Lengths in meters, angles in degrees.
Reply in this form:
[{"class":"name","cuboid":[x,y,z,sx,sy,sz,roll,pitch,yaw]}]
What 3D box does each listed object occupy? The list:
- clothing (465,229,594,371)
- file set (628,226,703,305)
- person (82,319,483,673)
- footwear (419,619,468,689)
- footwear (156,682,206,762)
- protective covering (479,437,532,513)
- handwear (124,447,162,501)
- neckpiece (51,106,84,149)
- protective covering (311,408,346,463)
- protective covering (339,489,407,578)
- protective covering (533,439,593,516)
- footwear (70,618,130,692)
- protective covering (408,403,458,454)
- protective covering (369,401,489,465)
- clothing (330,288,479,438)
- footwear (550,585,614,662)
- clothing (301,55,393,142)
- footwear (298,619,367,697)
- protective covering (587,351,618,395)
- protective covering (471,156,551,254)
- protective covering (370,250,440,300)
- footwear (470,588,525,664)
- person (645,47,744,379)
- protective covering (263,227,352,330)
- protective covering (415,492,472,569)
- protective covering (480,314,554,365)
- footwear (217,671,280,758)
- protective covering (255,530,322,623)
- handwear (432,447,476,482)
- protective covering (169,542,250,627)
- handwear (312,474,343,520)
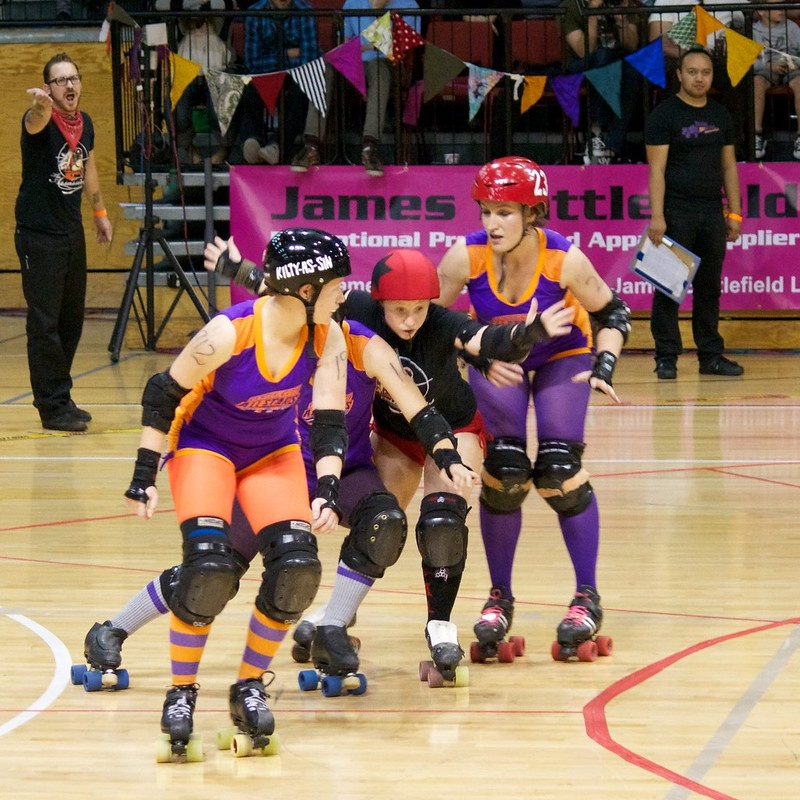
[{"class":"clothing","cuboid":[0.383,-0.304,4.170,0.303,0.420,0.220,9,40,36]},{"class":"file set","cuboid":[1.779,-0.903,9.181,0.489,0.379,0.143,40,25,28]},{"class":"person","cuboid":[-0.439,0.161,4.040,1.140,1.256,0.595,1,4,-44]},{"class":"footwear","cuboid":[0.123,0.718,3.837,0.076,0.122,0.228,0,-1,-2]},{"class":"footwear","cuboid":[-0.550,0.788,3.419,0.102,0.193,0.325,1,-5,-7]},{"class":"protective covering","cuboid":[0.321,0.241,4.261,0.159,0.248,0.132,-3,15,-28]},{"class":"handwear","cuboid":[-0.677,0.189,3.560,0.083,0.145,0.057,19,21,-25]},{"class":"neckpiece","cuboid":[-1.842,-1.514,7.660,0.139,0.243,0.275,3,8,25]},{"class":"protective covering","cuboid":[-0.196,0.118,3.710,0.098,0.165,0.093,10,-22,-15]},{"class":"protective covering","cuboid":[-0.066,0.359,3.885,0.171,0.217,0.213,9,12,-38]},{"class":"protective covering","cuboid":[0.525,0.243,4.220,0.153,0.228,0.219,-8,7,11]},{"class":"footwear","cuboid":[-0.849,0.714,3.842,0.102,0.189,0.286,0,-3,-25]},{"class":"protective covering","cuboid":[0.093,0.078,3.914,0.084,0.139,0.096,-40,-16,31]},{"class":"protective covering","cuboid":[0.097,0.121,4.285,0.249,0.141,0.198,-10,3,28]},{"class":"clothing","cuboid":[-0.002,-0.104,3.987,0.359,0.213,0.140,20,47,35]},{"class":"footwear","cuboid":[0.547,0.668,4.131,0.126,0.205,0.296,-3,3,28]},{"class":"clothing","cuboid":[-0.433,-2.424,10.958,0.588,0.664,0.054,13,23,20]},{"class":"footwear","cuboid":[-0.191,0.726,3.814,0.105,0.190,0.267,4,-6,-26]},{"class":"protective covering","cuboid":[0.608,-0.086,4.153,0.081,0.144,0.055,6,-26,14]},{"class":"protective covering","cuboid":[0.350,-0.623,4.266,0.253,0.274,0.200,-2,3,-33]},{"class":"protective covering","cuboid":[0.009,-0.365,3.998,0.204,0.159,0.230,-2,5,-17]},{"class":"footwear","cuboid":[0.295,0.699,4.200,0.119,0.214,0.371,0,5,15]},{"class":"person","cuboid":[2.045,-1.265,9.601,0.622,2.276,1.083,3,8,23]},{"class":"protective covering","cuboid":[-0.246,-0.334,3.591,0.221,0.271,0.209,-21,36,-35]},{"class":"protective covering","cuboid":[0.117,0.373,3.953,0.136,0.207,0.193,0,14,2]},{"class":"protective covering","cuboid":[0.331,-0.176,3.819,0.164,0.169,0.103,-19,34,-32]},{"class":"footwear","cuboid":[-0.381,0.778,3.366,0.139,0.147,0.179,-2,8,-13]},{"class":"protective covering","cuboid":[-0.278,0.424,3.380,0.154,0.232,0.220,1,9,-15]},{"class":"handwear","cuboid":[0.133,0.171,3.795,0.094,0.082,0.120,0,8,0]},{"class":"protective covering","cuboid":[-0.459,0.445,3.425,0.151,0.187,0.213,22,37,-16]},{"class":"handwear","cuboid":[-0.184,0.253,3.618,0.074,0.104,0.051,4,-30,-6]}]
